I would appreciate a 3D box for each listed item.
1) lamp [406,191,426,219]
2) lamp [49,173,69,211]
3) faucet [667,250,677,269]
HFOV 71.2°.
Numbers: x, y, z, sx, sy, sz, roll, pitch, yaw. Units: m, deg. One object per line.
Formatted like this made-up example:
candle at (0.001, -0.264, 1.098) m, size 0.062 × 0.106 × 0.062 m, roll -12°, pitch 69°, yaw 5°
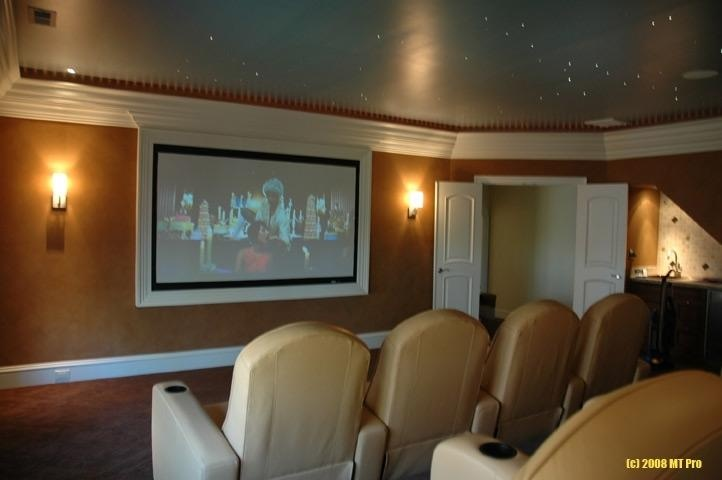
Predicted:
lamp at (0.815, -0.525, 7.512) m, size 0.257 × 0.420 × 0.110 m, roll -1°, pitch 1°, yaw -23°
lamp at (-3.418, -0.562, 5.728) m, size 0.172 × 0.387 × 0.077 m, roll -2°, pitch 1°, yaw -33°
faucet at (4.936, 0.327, 8.002) m, size 0.134 × 0.329 × 0.151 m, roll -1°, pitch 1°, yaw -32°
